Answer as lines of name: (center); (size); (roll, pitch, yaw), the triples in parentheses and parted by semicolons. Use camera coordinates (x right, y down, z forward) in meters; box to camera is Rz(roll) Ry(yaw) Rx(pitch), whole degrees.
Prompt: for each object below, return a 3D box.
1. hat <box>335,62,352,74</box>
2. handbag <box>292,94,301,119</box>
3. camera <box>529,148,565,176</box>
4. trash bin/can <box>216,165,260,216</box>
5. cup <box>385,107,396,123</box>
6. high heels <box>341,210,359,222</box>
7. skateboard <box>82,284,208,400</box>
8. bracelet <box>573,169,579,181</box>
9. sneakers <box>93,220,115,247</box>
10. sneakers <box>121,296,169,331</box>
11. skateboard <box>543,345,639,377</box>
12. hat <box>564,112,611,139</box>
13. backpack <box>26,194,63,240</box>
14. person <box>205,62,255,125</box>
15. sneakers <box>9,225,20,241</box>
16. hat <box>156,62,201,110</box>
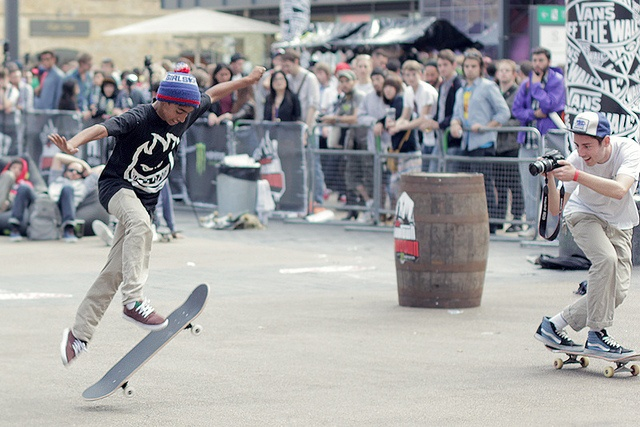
hat: (0.451, -2.854, 24.572); (0.320, 0.301, 0.317); (-3, 5, -7)
handbag: (-0.427, -1.939, 23.106); (0.133, 0.466, 0.256); (2, 6, 24)
camera: (2.686, -0.589, 15.062); (0.334, 0.197, 0.303); (-19, 11, -39)
trash bin/can: (-1.504, -0.393, 22.918); (0.911, 1.087, 0.819); (1, -4, -19)
cup: (1.212, -1.700, 21.656); (0.237, 0.263, 0.230); (-1, 3, 0)
high heels: (0.558, 0.033, 22.860); (0.203, 0.199, 0.198); (1, 1, 0)
skateboard: (-2.134, 1.608, 15.347); (1.500, 0.273, 0.387); (-43, 34, -10)
bracelet: (3.033, -0.458, 14.995); (0.072, 0.128, 0.041); (1, 6, 10)
sneakers: (-3.549, 0.318, 20.763); (0.138, 0.400, 0.156); (-30, 10, 24)
sneakers: (-2.070, 1.175, 14.918); (0.634, 0.300, 0.239); (18, 39, 20)
skateboard: (3.287, 1.781, 15.260); (1.076, 0.235, 0.417); (0, -1, 43)
hat: (3.216, -1.053, 15.103); (0.402, 0.222, 0.284); (6, 12, -12)
backpack: (-4.723, 0.020, 21.607); (0.618, 0.867, 0.437); (-2, 29, -12)
person: (-1.666, -2.261, 23.885); (1.012, 1.304, 1.328); (0, -2, -2)
sneakers: (-5.176, 0.349, 21.447); (0.187, 0.231, 0.205); (-1, 6, -8)
hat: (-1.706, -1.561, 15.090); (0.500, 0.491, 0.468); (7, 6, -7)
